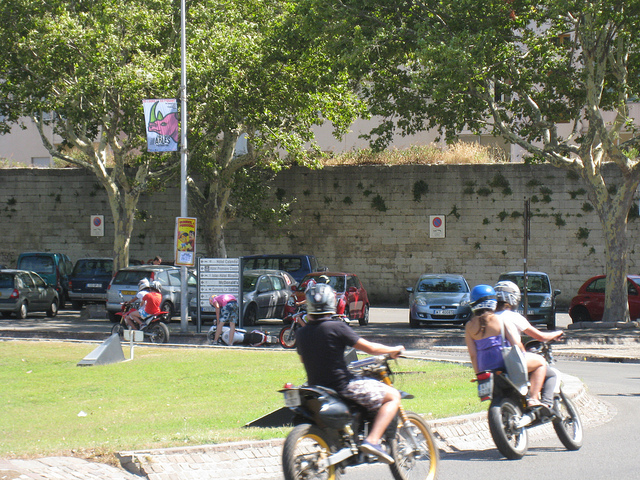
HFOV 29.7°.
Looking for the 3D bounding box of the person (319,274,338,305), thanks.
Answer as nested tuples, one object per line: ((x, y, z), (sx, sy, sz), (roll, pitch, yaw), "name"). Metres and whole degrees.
((0.257, 1.187, 33.963), (0.436, 0.481, 0.827), (-2, -14, 4), "person")

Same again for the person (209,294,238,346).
((-2.724, 2.216, 34.030), (0.708, 1.390, 0.992), (1, -6, 0), "person")

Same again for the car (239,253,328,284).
((-1.480, 0.836, 45.532), (2.307, 1.216, 1.425), (2, 0, 6), "car")

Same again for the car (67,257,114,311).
((-8.239, 1.397, 43.075), (1.232, 1.135, 2.277), (0, 3, 1), "car")

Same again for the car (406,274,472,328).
((3.750, 1.872, 38.189), (1.915, 1.734, 1.826), (1, -7, 2), "car")

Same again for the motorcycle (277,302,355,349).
((-0.371, 2.193, 34.265), (2.031, 1.386, 0.982), (-12, 6, -30), "motorcycle")

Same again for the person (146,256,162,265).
((-6.080, 0.718, 44.064), (0.778, 0.321, 0.245), (1, -4, 36), "person")

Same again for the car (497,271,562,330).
((6.968, 1.829, 38.940), (1.424, 1.184, 2.360), (-1, -7, 9), "car")

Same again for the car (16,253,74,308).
((-10.338, 1.382, 46.017), (1.816, 2.185, 3.806), (0, 2, -1), "car")

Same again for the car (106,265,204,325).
((-5.474, 1.826, 40.229), (1.790, 1.627, 3.270), (-1, 2, 29), "car")

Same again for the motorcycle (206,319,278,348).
((-2.263, 2.727, 34.213), (1.550, 0.950, 0.776), (6, -10, 0), "motorcycle")

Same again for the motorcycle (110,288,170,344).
((-5.132, 2.202, 34.057), (2.050, 1.396, 1.099), (2, -3, 27), "motorcycle")

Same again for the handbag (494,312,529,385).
((3.856, 2.181, 24.380), (0.678, 1.400, 0.155), (2, -6, -11), "handbag")

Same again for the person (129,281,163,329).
((-4.954, 1.746, 33.843), (0.859, 1.654, 0.671), (7, 14, 13), "person")

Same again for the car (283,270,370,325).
((0.360, 1.697, 38.881), (1.529, 1.273, 2.498), (-1, -6, 23), "car")

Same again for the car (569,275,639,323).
((9.379, 1.854, 39.406), (2.161, 1.120, 1.270), (-7, -5, 29), "car")
